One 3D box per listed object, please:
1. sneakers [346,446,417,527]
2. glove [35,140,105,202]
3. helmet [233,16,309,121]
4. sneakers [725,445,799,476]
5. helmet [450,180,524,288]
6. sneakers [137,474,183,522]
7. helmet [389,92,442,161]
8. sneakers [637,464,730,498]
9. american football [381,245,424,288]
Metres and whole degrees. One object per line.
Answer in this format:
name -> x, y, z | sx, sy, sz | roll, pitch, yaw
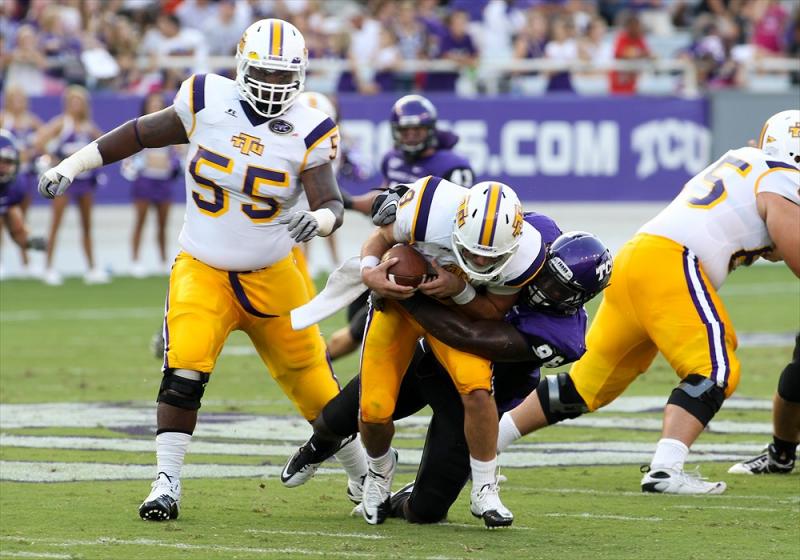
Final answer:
sneakers -> -0.129, 1.079, 5.844 | 0.146, 0.469, 0.206 | 4, -4, 20
glove -> -1.908, -0.639, 6.133 | 0.352, 0.314, 0.346 | -4, 9, -32
helmet -> -0.739, -1.241, 6.128 | 0.410, 0.480, 0.508 | 1, 27, -21
sneakers -> 2.199, 1.092, 6.605 | 0.489, 0.219, 0.167 | 1, 0, -1
helmet -> 0.469, -0.297, 5.633 | 0.417, 0.431, 0.539 | 12, 42, 9
sneakers -> -1.260, 1.128, 5.622 | 0.210, 0.213, 0.197 | -2, 8, -16
helmet -> 0.083, -1.253, 8.479 | 0.380, 0.427, 0.501 | 0, 19, 8
sneakers -> 1.624, 1.137, 6.141 | 0.521, 0.199, 0.180 | 2, -4, -3
american football -> 0.016, -0.088, 5.629 | 0.175, 0.175, 0.217 | 1, -3, 6
